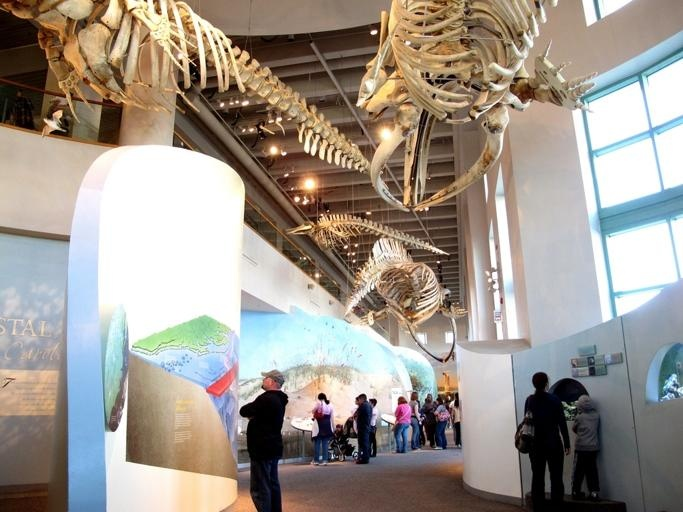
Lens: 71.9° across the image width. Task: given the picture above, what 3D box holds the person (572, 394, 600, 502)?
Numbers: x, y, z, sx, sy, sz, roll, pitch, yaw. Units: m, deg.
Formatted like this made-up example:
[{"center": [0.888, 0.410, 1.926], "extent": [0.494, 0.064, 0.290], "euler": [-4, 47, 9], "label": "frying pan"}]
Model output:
[{"center": [2.570, 2.008, 4.960], "extent": [0.365, 1.017, 0.146], "euler": [-9, -16, 27], "label": "person"}]
